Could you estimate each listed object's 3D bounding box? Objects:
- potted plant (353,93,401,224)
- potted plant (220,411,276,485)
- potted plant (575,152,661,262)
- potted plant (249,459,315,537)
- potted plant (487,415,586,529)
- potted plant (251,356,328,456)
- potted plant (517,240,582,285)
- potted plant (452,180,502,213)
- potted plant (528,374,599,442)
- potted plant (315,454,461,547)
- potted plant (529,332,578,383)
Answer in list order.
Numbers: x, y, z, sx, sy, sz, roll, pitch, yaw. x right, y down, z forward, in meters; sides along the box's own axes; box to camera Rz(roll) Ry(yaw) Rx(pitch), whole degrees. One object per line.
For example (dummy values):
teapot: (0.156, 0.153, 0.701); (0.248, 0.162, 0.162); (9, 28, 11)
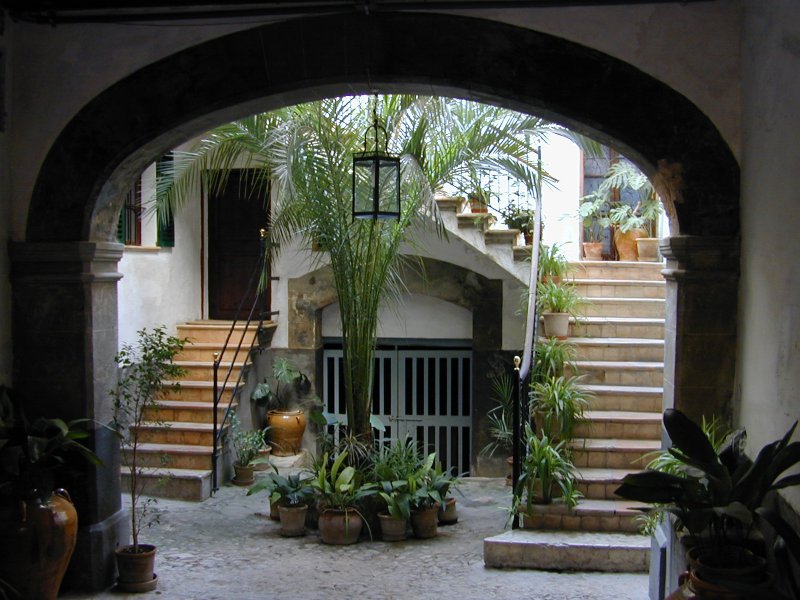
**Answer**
potted plant: (-0.188, -1.108, 5.286); (0.334, 1.014, 1.089); (0, 0, -3)
potted plant: (-1.733, 1.632, 7.929); (0.421, 0.733, 0.555); (0, 2, 5)
potted plant: (2.885, -1.245, 9.355); (1.014, 1.445, 1.176); (0, 1, 19)
potted plant: (-1.040, 1.742, 6.288); (0.551, 0.440, 0.597); (1, -1, 22)
potted plant: (1.115, 1.322, 5.578); (0.605, 0.720, 0.688); (2, -3, -42)
potted plant: (-1.307, 1.328, 9.342); (1.106, 1.448, 1.026); (-1, -1, 22)
potted plant: (1.688, -0.397, 7.883); (0.517, 0.410, 0.551); (2, 1, 4)
potted plant: (0.849, -1.182, 8.066); (0.551, 0.419, 0.536); (2, -2, -42)
potted plant: (1.337, 0.892, 6.033); (0.499, 0.533, 0.501); (3, -2, -36)
potted plant: (-0.179, 1.659, 6.084); (0.767, 0.473, 0.852); (2, -6, 1)
potted plant: (1.420, 0.525, 6.499); (0.363, 0.284, 0.387); (3, -2, -10)
